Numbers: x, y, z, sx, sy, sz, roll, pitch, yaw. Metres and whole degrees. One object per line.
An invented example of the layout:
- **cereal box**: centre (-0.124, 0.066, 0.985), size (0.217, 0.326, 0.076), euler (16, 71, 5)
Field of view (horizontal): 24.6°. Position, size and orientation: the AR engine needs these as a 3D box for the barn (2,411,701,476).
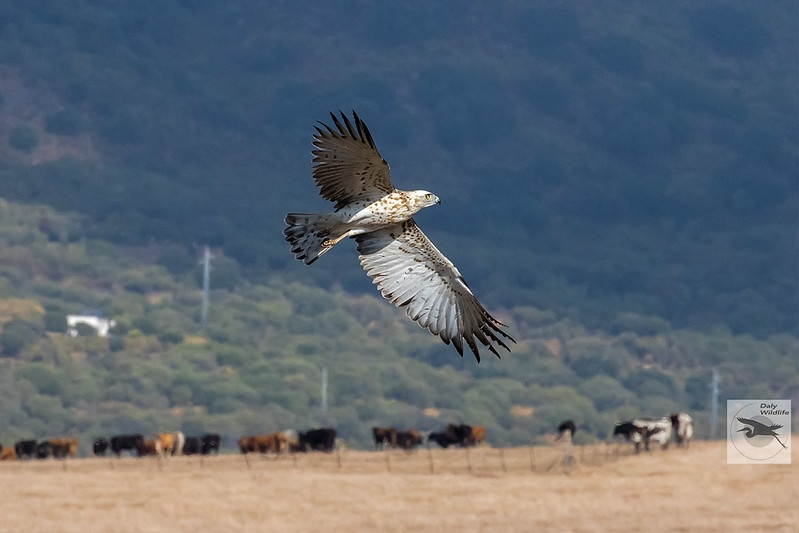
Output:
- **barn**: centre (-0.594, 13.383, 133.682), size (45.353, 4.447, 5.044), euler (-2, -17, 0)
